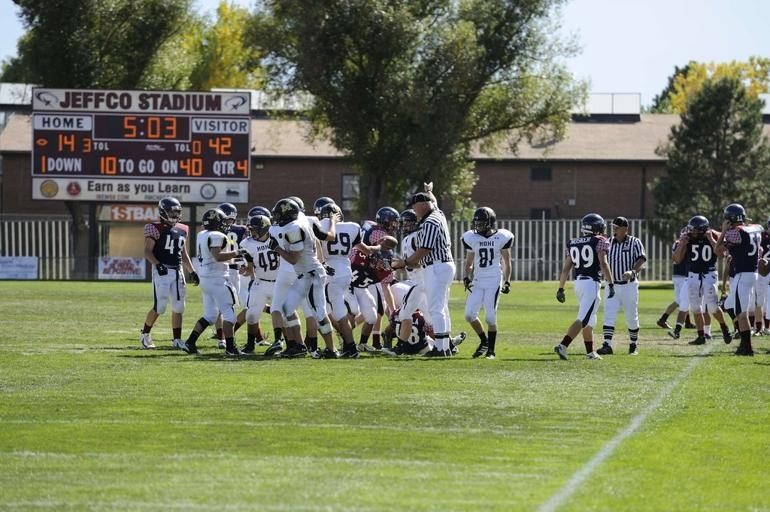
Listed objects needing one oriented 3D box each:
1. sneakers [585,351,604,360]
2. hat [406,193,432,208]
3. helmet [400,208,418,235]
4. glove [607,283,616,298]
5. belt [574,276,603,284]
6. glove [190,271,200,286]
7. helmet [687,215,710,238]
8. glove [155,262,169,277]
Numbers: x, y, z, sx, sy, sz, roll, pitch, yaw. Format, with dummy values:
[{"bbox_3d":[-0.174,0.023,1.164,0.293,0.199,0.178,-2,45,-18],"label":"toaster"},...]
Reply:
[{"bbox_3d":[4.750,2.274,28.566,0.372,0.149,0.144,-1,6,-28],"label":"sneakers"},{"bbox_3d":[0.778,-1.264,28.774,0.449,0.234,0.282,-4,10,20],"label":"hat"},{"bbox_3d":[0.544,-0.781,29.575,0.573,0.506,0.442,4,-7,-12],"label":"helmet"},{"bbox_3d":[5.170,0.808,28.932,0.305,0.358,0.221,0,-1,-3],"label":"glove"},{"bbox_3d":[4.581,0.584,28.605,0.557,0.166,0.158,2,-1,7],"label":"belt"},{"bbox_3d":[-4.342,0.531,28.877,0.095,0.319,0.209,-12,39,23],"label":"glove"},{"bbox_3d":[7.527,-0.709,30.459,0.458,0.459,0.576,10,31,25],"label":"helmet"},{"bbox_3d":[-5.125,0.343,29.075,0.252,0.276,0.238,-43,-33,25],"label":"glove"}]
